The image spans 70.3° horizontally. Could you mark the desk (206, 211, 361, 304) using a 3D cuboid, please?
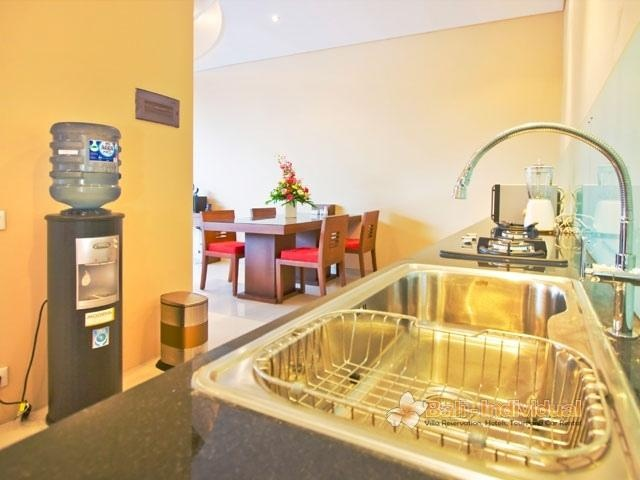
[{"bbox_3d":[-0.232,0.120,4.424,1.032,0.890,1.131,11,18,38],"label":"desk"}]

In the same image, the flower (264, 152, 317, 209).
[{"bbox_3d":[-0.315,-0.549,4.862,0.463,0.624,0.522,-8,19,-25],"label":"flower"}]

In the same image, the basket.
[{"bbox_3d":[0.245,0.323,0.934,0.452,0.172,0.363,8,16,26],"label":"basket"}]

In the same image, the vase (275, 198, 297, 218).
[{"bbox_3d":[-0.386,-0.360,5.061,0.266,0.279,0.268,-1,1,-27],"label":"vase"}]

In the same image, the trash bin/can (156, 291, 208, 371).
[{"bbox_3d":[-0.780,0.517,2.612,0.328,0.390,0.309,-4,12,-39],"label":"trash bin/can"}]

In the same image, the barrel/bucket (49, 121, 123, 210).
[{"bbox_3d":[-1.094,-0.336,2.110,0.269,0.393,0.265,2,6,0],"label":"barrel/bucket"}]
